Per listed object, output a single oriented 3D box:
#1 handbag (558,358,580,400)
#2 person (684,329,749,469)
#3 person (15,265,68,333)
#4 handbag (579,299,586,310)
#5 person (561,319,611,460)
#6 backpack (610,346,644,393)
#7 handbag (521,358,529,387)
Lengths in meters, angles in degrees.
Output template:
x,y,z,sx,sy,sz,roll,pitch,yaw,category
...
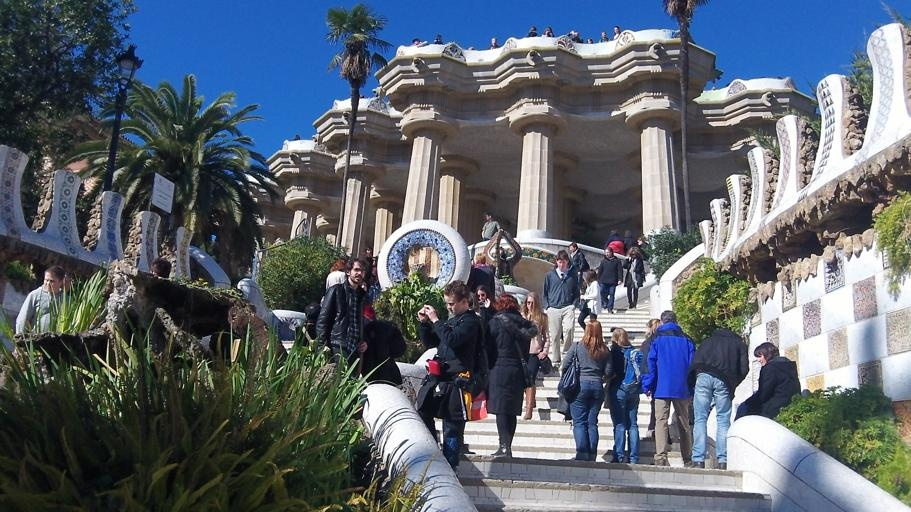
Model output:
x,y,z,sx,sy,sz,roll,pitch,yaw,category
2.144,2.317,16.550,0.351,0.747,0.752,13,-17,18,handbag
4.903,2.630,16.494,1.041,2.582,0.452,-2,-14,13,person
-6.917,0.728,14.758,0.616,1.461,2.121,7,-15,-25,person
3.209,1.223,22.283,0.160,0.221,0.080,4,-4,33,handbag
2.456,2.476,16.532,0.897,2.588,0.376,0,-13,4,person
3.301,2.235,17.088,0.661,0.819,0.461,14,-34,-13,backpack
1.240,2.057,15.561,0.127,0.412,0.301,3,-3,7,handbag
